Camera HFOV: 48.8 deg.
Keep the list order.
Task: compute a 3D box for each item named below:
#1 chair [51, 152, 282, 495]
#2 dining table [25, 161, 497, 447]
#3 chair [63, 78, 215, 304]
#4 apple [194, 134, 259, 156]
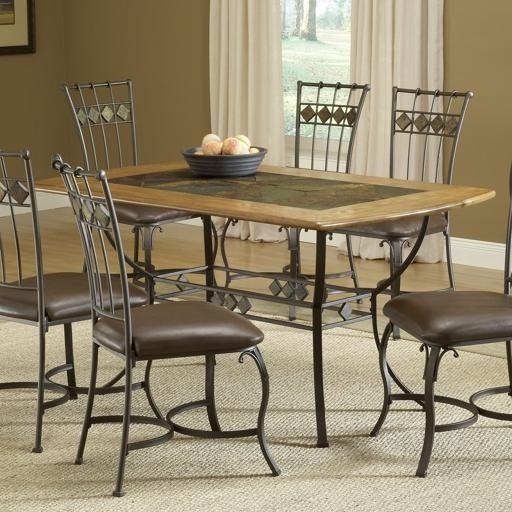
[{"bbox_3d":[-0.243,0.185,1.593,0.645,0.752,0.451,6,3,-22],"label":"chair"},{"bbox_3d":[0.004,0.013,2.231,1.460,0.596,0.844,14,25,40],"label":"dining table"},{"bbox_3d":[-0.678,-0.341,3.263,0.905,1.148,0.862,2,-3,18],"label":"chair"},{"bbox_3d":[-0.151,-0.456,2.355,0.187,0.058,0.165,1,9,13],"label":"apple"}]
